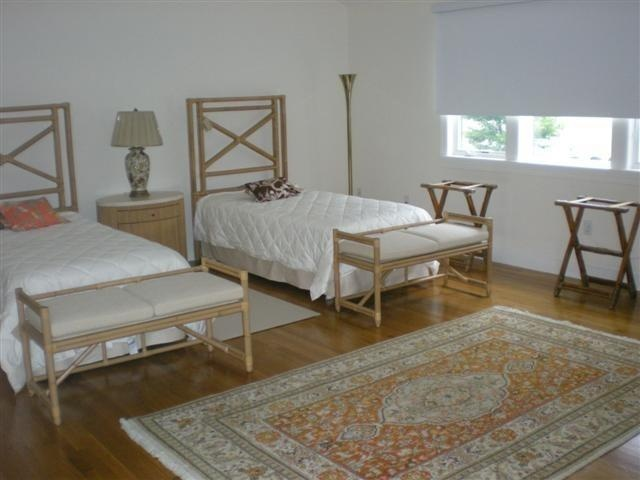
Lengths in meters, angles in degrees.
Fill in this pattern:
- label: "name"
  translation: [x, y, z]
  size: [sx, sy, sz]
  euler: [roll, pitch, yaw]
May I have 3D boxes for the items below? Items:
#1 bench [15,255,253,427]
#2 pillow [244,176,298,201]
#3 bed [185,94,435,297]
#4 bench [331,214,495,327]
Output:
- label: "bench"
  translation: [-1.133, 0.585, 3.146]
  size: [1.270, 0.598, 0.557]
  euler: [-7, 10, -40]
- label: "pillow"
  translation: [-0.491, -0.531, 5.321]
  size: [0.347, 0.106, 0.361]
  euler: [-10, 25, -26]
- label: "bed"
  translation: [-0.117, -0.644, 5.343]
  size: [1.772, 1.898, 2.736]
  euler: [-13, 17, -37]
- label: "bench"
  translation: [0.843, 0.207, 4.352]
  size: [1.450, 0.640, 0.595]
  euler: [-8, 13, -35]
